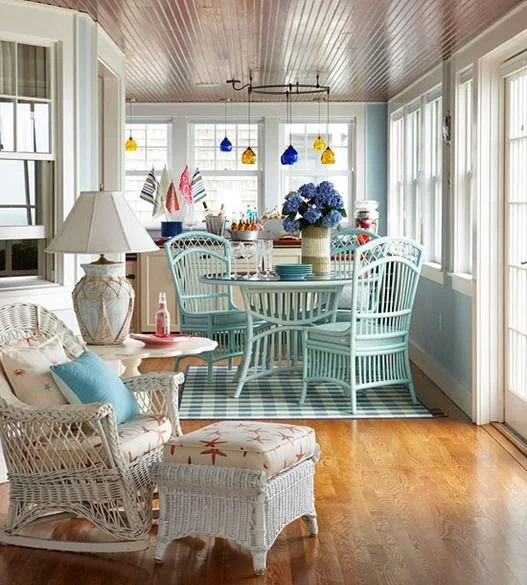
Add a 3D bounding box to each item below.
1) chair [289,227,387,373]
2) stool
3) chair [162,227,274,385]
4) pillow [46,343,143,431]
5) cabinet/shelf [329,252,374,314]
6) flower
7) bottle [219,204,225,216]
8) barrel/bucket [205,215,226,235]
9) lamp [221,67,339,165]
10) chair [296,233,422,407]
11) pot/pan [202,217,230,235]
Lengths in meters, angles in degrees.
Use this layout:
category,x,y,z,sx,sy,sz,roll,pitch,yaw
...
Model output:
category,x,y,z,sx,sy,sz,roll,pitch,yaw
chair,0.754,-0.145,4.492,0.897,1.248,0.781,0,-1,8
stool,-0.077,0.615,1.548,0.368,0.339,0.464,-5,-10,24
chair,-0.392,0.084,4.262,0.928,1.307,0.919,-1,-2,18
pillow,-0.551,0.299,1.570,0.079,0.243,0.250,-36,-13,12
cabinet/shelf,0.670,-0.113,3.831,0.479,0.626,0.429,0,-2,11
flower,0.389,-0.680,3.703,0.509,0.327,0.501,-2,-10,7
bottle,-0.530,-1.044,6.015,0.053,0.183,0.258,1,-1,-8
barrel/bucket,-0.586,-0.825,6.019,0.258,0.273,0.248,-1,4,0
lamp,0.170,-2.011,5.790,1.213,1.030,0.766,-2,14,-4
chair,0.715,0.210,3.593,0.636,1.231,0.722,-2,4,-32
pot/pan,-0.627,-0.827,6.069,0.251,0.209,0.241,-1,5,-2
